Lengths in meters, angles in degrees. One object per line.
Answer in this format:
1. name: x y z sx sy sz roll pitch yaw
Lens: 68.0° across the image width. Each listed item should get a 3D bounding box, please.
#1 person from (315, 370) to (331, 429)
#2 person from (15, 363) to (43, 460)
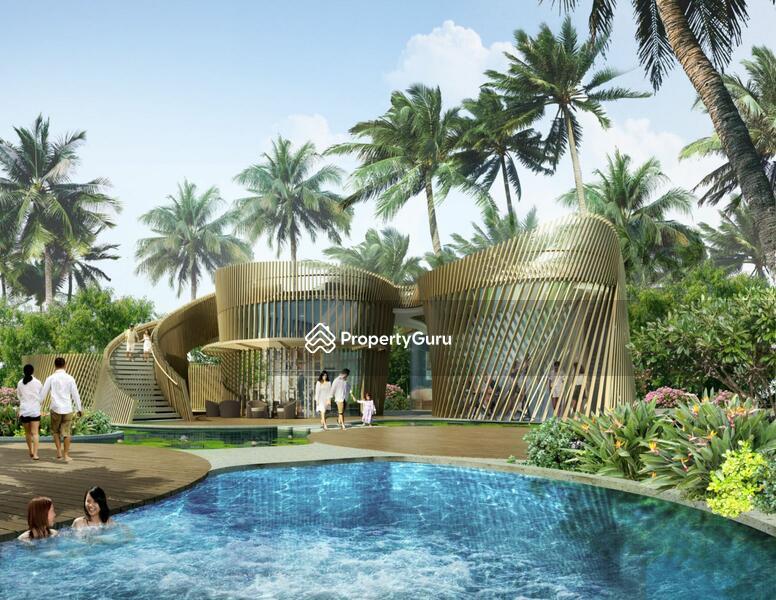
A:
1. person: -1.795 2.775 15.979 0.427 1.547 1.474 0 -6 -6
2. person: -6.197 1.917 9.935 0.360 1.587 1.816 3 -8 -32
